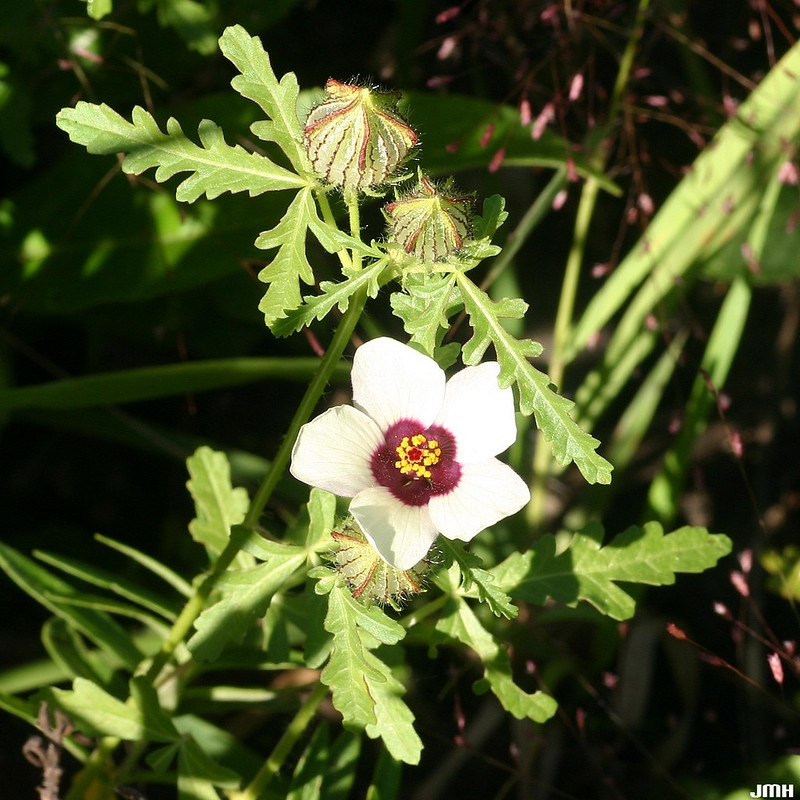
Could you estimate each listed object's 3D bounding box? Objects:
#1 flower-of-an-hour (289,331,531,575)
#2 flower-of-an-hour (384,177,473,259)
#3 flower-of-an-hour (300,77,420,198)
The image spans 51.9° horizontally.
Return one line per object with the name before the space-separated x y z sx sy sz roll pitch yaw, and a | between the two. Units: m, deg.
flower-of-an-hour | 0.035 0.090 1.318 0.356 0.113 0.381 37 65 13
flower-of-an-hour | 0.051 -0.289 1.360 0.140 0.080 0.142 -4 92 1
flower-of-an-hour | -0.063 -0.421 1.315 0.178 0.122 0.153 5 82 1
